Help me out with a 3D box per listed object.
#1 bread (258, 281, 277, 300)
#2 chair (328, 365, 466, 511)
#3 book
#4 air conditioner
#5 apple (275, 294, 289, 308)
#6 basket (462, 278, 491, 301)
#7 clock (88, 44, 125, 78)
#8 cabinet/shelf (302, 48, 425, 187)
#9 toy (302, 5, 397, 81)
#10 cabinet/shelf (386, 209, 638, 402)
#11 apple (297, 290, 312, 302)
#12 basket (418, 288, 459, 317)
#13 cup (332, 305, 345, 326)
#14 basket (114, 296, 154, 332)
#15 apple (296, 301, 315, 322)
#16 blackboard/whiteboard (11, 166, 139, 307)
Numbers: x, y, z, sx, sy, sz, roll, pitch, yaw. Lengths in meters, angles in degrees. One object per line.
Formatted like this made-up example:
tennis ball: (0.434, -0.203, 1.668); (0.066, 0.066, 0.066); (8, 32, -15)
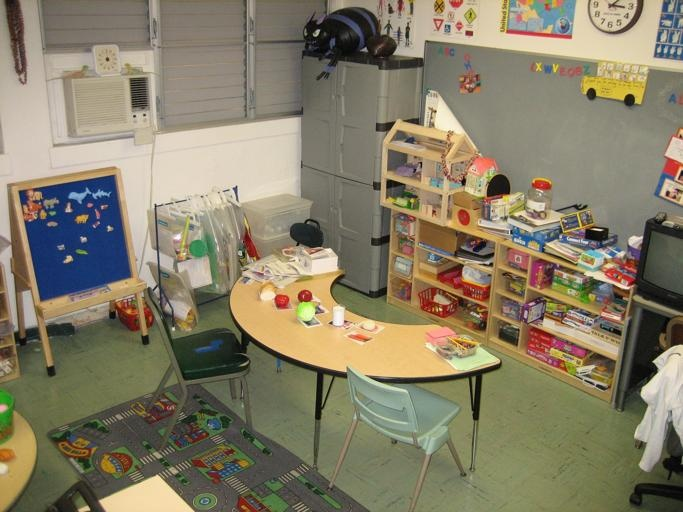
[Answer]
bread: (-0.546, 0.271, 3.805); (0.115, 0.117, 0.118); (20, 32, 32)
chair: (0.366, 1.074, 3.192); (0.895, 0.983, 0.506); (-7, 23, -13)
book: (1.661, -0.241, 4.331); (0.503, 0.187, 0.530); (18, 30, 31)
air conditioner: (-2.052, -1.298, 4.500); (0.525, 0.370, 0.185); (-19, 33, -36)
apple: (-0.428, 0.331, 3.700); (0.111, 0.106, 0.085); (1, 18, 0)
basket: (1.265, 0.309, 4.837); (0.161, 0.135, 0.217); (-15, 27, -36)
clock: (-2.016, -1.673, 4.429); (0.214, 0.247, 0.072); (-13, 25, -25)
cabinet/shelf: (0.194, -1.430, 5.676); (1.335, 1.349, 0.763); (20, 27, 41)
toy: (0.114, -2.178, 5.138); (0.776, 0.524, 0.809); (-25, 50, -17)
cabinet/shelf: (1.504, 0.410, 4.251); (0.292, 0.669, 1.439); (-17, 32, -38)
apple: (-0.259, 0.275, 3.693); (0.080, 0.080, 0.080); (-16, 24, -41)
basket: (0.982, 0.489, 5.189); (0.254, 0.159, 0.342); (-23, 31, -39)
cup: (-0.020, 0.415, 3.595); (0.099, 0.125, 0.124); (5, 4, 36)
basket: (-1.918, 0.550, 4.765); (0.329, 0.226, 0.477); (-13, 20, -38)
apple: (-0.241, 0.383, 3.577); (0.127, 0.146, 0.120); (3, 6, -16)
blackboard/whiteboard: (-2.319, -0.157, 4.397); (0.873, 1.045, 0.565); (-18, 34, -31)
